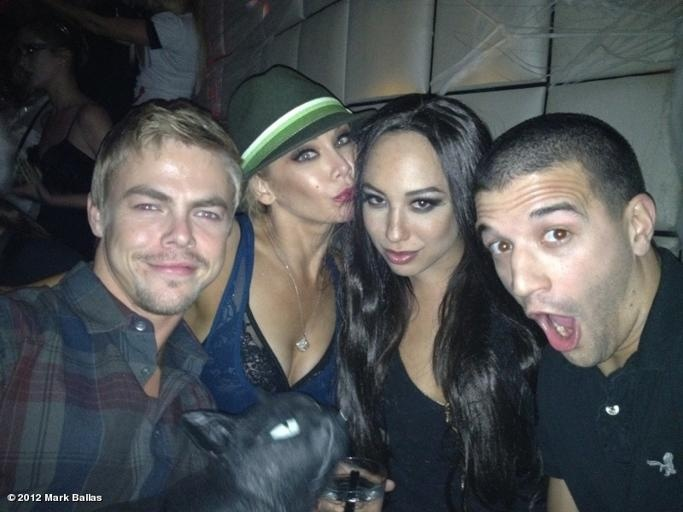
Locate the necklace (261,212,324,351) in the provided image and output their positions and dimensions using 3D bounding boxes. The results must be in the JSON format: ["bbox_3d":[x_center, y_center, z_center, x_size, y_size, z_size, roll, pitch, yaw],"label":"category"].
[{"bbox_3d":[-0.235,0.116,3.168,0.184,0.695,0.156,-11,-5,-36],"label":"necklace"}]

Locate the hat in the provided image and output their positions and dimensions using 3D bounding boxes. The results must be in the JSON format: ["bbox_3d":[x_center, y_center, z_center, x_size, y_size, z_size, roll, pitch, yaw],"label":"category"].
[{"bbox_3d":[-0.216,-0.593,3.028,0.551,0.254,0.496,-22,16,44],"label":"hat"}]
